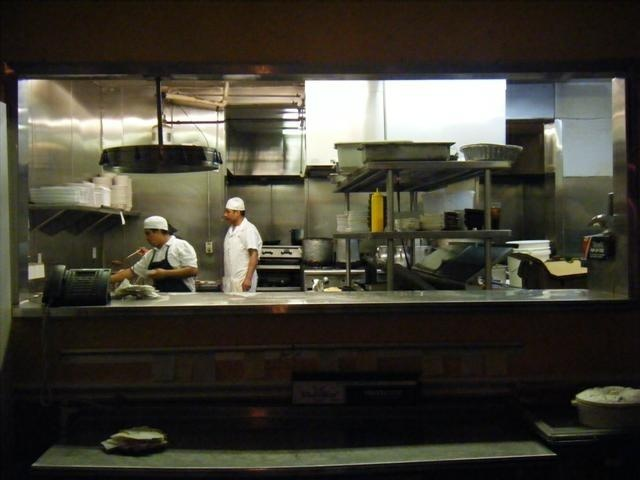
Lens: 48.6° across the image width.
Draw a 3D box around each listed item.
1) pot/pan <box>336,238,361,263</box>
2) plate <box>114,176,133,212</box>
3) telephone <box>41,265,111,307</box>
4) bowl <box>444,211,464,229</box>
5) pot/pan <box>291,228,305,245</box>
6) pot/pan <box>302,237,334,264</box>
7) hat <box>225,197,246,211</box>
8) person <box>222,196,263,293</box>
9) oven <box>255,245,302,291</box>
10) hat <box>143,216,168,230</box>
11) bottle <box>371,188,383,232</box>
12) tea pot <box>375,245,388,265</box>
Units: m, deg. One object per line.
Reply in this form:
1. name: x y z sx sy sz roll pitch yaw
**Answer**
1. pot/pan: 0.253 0.099 6.548 0.222 0.228 0.217 0 -3 8
2. plate: -1.786 -0.419 6.409 0.195 0.315 0.341 -1 2 -10
3. telephone: -1.306 0.249 3.879 0.331 0.217 0.316 -3 -2 -5
4. bowl: 0.847 -0.122 4.498 0.115 0.111 0.039 -3 9 -1
5. pot/pan: -0.219 -0.036 6.961 0.121 0.145 0.156 0 -4 -6
6. pot/pan: -0.028 0.100 6.376 0.238 0.184 0.234 0 -5 13
7. hat: -0.741 -0.315 6.178 0.162 0.100 0.122 0 1 12
8. person: -0.709 0.049 6.109 0.339 0.808 0.368 0 3 8
9. oven: -0.359 0.328 6.931 0.548 0.506 0.378 0 -6 -2
10. hat: -1.295 -0.130 5.617 0.154 0.089 0.123 1 0 -6
11. bottle: 0.361 -0.181 4.437 0.086 0.265 0.084 -1 5 0
12. tea pot: 0.572 0.136 6.871 0.153 0.165 0.157 1 -3 0
